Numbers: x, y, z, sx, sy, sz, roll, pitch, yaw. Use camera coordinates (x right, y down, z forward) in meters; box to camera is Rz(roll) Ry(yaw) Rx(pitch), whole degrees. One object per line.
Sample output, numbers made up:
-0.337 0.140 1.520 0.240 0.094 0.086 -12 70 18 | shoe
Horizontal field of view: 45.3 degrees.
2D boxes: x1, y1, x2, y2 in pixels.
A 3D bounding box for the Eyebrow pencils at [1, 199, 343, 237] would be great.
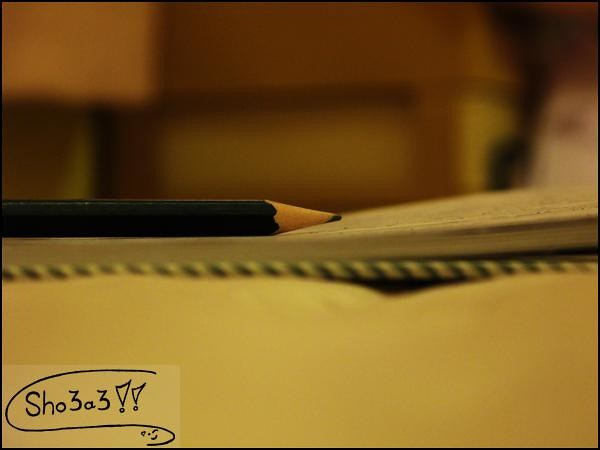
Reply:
-0.108 -0.006 0.589 0.278 0.035 0.012 -1 -9 0 | Eyebrow pencils
